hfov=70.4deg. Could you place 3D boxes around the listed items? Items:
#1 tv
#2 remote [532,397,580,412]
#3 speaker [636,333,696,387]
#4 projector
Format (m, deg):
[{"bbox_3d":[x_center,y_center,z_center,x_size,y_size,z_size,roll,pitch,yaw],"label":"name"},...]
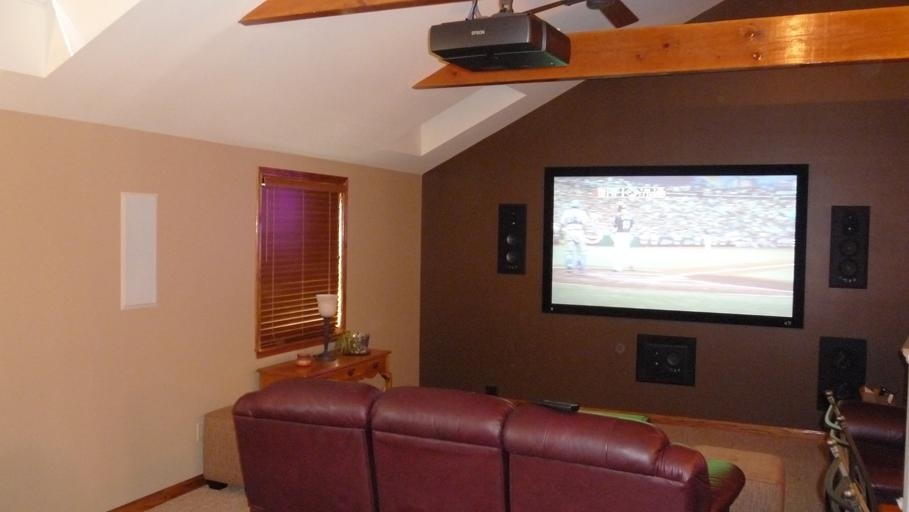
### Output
[{"bbox_3d":[2.759,-0.138,7.692,2.351,1.264,0.053,2,4,21],"label":"tv"},{"bbox_3d":[0.737,1.057,4.623,0.297,0.057,0.248,0,1,20],"label":"remote"},{"bbox_3d":[2.585,1.242,7.816,0.767,0.581,0.371,1,0,18],"label":"speaker"},{"bbox_3d":[0.322,-1.628,4.902,0.669,0.208,0.594,2,3,22],"label":"projector"}]
